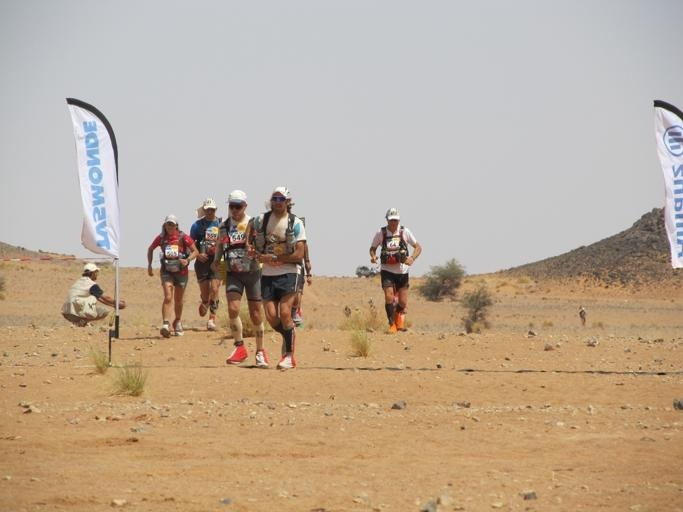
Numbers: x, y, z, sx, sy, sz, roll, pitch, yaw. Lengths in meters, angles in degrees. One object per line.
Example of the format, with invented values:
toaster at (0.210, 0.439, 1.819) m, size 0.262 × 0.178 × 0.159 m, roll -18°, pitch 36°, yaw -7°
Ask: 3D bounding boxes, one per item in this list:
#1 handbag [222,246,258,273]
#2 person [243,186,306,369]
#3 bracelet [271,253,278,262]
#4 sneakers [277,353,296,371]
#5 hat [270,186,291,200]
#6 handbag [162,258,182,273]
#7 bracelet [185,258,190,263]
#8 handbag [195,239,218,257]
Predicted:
handbag at (-1.719, 0.066, 13.237) m, size 0.447 × 0.350 × 0.384 m, roll 0°, pitch 1°, yaw -6°
person at (-1.077, 0.413, 12.883) m, size 0.895 × 3.042 × 0.757 m, roll 1°, pitch 4°, yaw -8°
bracelet at (-1.078, 0.025, 12.612) m, size 0.089 × 0.119 × 0.047 m, roll 0°, pitch 4°, yaw -19°
sneakers at (-0.948, 1.784, 13.449) m, size 0.275 × 0.275 × 0.203 m, roll -6°, pitch 7°, yaw -22°
hat at (-0.947, -0.982, 12.441) m, size 0.265 × 0.179 × 0.291 m, roll 0°, pitch 5°, yaw -13°
handbag at (-3.508, 0.173, 16.357) m, size 0.344 × 0.356 × 0.260 m, roll 1°, pitch -1°, yaw -26°
bracelet at (-3.195, 0.081, 16.321) m, size 0.093 × 0.144 × 0.044 m, roll 0°, pitch -13°, yaw -11°
handbag at (-2.852, -0.207, 16.616) m, size 0.404 × 0.496 × 0.558 m, roll 1°, pitch -24°, yaw -12°
